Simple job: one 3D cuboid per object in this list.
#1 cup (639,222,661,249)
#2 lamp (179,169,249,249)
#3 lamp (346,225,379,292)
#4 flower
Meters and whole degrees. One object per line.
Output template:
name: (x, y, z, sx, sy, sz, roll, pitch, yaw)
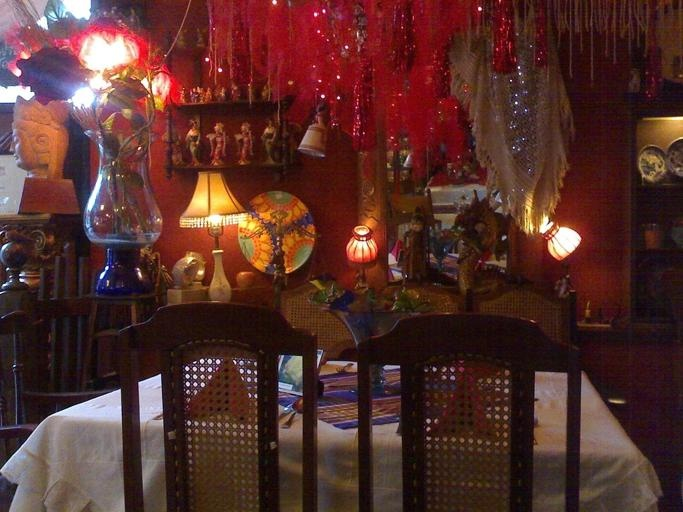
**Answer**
cup: (1.188, -0.077, 2.690, 0.067, 0.100, 0.110, -5, -11, 26)
lamp: (-0.658, -0.216, 3.589, 0.327, 0.423, 0.352, -4, 5, 2)
lamp: (0.096, 0.028, 3.435, 0.147, 0.295, 0.154, 7, 11, 22)
flower: (-0.753, -0.567, 2.123, 0.477, 0.284, 0.270, 5, -11, -31)
